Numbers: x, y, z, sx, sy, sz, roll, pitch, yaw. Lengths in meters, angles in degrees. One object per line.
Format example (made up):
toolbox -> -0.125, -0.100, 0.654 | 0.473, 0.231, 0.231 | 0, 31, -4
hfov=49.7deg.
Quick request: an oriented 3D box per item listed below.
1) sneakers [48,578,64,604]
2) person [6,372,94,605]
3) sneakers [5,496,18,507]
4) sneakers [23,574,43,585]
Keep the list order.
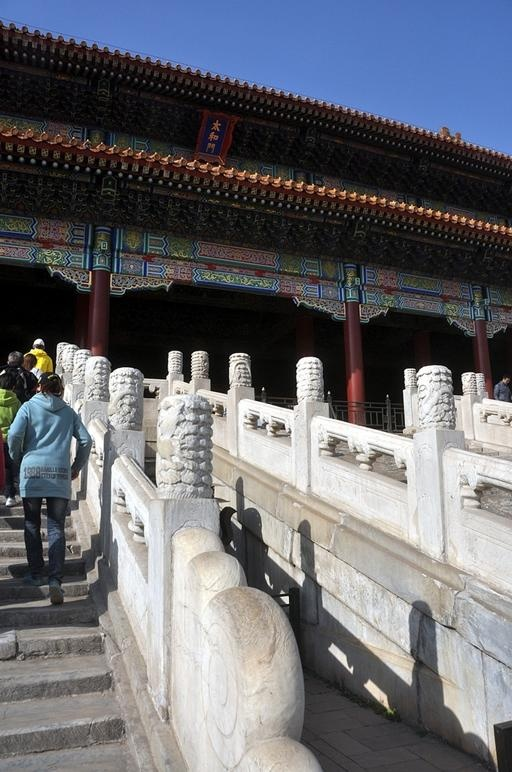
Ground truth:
sneakers -> -1.185, 1.225, 3.261 | 0.077, 0.133, 0.102 | 1, -1, -22
person -> -1.369, 0.583, 3.558 | 0.464, 1.299, 0.606 | 1, -1, -6
sneakers -> -2.109, 1.005, 4.750 | 0.049, 0.055, 0.122 | 1, -27, -2
sneakers -> -1.407, 1.216, 3.481 | 0.127, 0.055, 0.052 | 19, -1, 22
